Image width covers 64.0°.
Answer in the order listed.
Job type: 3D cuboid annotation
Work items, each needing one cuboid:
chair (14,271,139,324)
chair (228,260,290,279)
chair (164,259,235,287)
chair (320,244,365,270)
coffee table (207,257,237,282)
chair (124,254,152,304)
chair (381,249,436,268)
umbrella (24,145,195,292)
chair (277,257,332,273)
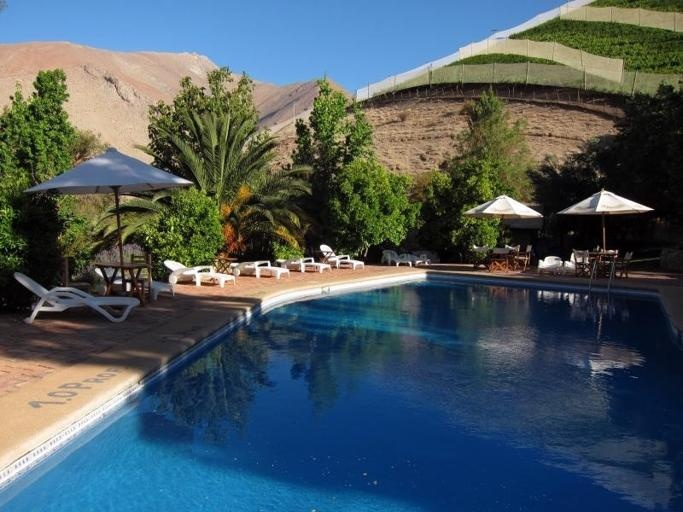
[{"bbox_3d":[-4.945,0.804,10.227,2.258,0.940,1.055,1,2,-11],"label":"chair"},{"bbox_3d":[-2.789,0.479,18.318,1.473,0.456,0.858,-1,0,30],"label":"chair"},{"bbox_3d":[-4.101,0.534,15.639,1.557,0.557,1.073,3,3,9],"label":"chair"},{"bbox_3d":[-0.002,0.081,22.353,1.632,0.977,1.990,2,10,0],"label":"chair"},{"bbox_3d":[-4.060,0.548,18.466,0.843,0.877,0.912,-2,5,-12],"label":"coffee table"},{"bbox_3d":[-4.623,0.598,12.353,0.645,0.661,0.477,1,-2,3],"label":"chair"},{"bbox_3d":[2.858,0.157,24.309,1.571,0.615,0.992,0,5,11],"label":"chair"},{"bbox_3d":[-5.101,-0.818,12.174,2.492,3.125,3.092,-2,11,-18],"label":"umbrella"},{"bbox_3d":[-1.452,0.357,19.926,1.228,0.433,0.843,-1,1,29],"label":"chair"}]
